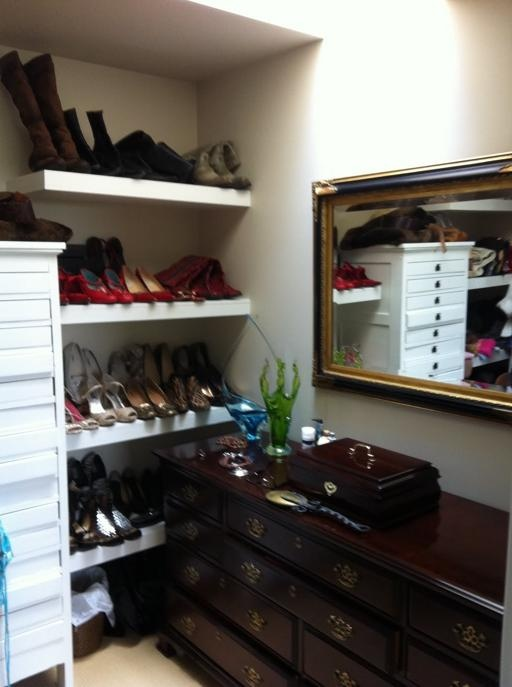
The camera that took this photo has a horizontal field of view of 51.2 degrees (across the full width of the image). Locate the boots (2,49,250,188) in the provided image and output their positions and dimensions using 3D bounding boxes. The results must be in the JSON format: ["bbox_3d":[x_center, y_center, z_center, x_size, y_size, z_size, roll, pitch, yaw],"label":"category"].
[{"bbox_3d":[-0.418,-0.889,2.413,1.235,0.495,0.405,-6,8,-37],"label":"boots"}]

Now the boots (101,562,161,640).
[{"bbox_3d":[-0.540,1.131,2.358,0.222,0.287,0.105,-4,-27,-32],"label":"boots"}]

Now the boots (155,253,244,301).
[{"bbox_3d":[-0.262,-0.287,2.430,0.242,0.104,0.305,-6,17,-28],"label":"boots"}]

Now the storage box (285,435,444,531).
[{"bbox_3d":[0.348,0.373,1.487,0.205,0.118,0.259,-7,12,-36],"label":"storage box"}]
